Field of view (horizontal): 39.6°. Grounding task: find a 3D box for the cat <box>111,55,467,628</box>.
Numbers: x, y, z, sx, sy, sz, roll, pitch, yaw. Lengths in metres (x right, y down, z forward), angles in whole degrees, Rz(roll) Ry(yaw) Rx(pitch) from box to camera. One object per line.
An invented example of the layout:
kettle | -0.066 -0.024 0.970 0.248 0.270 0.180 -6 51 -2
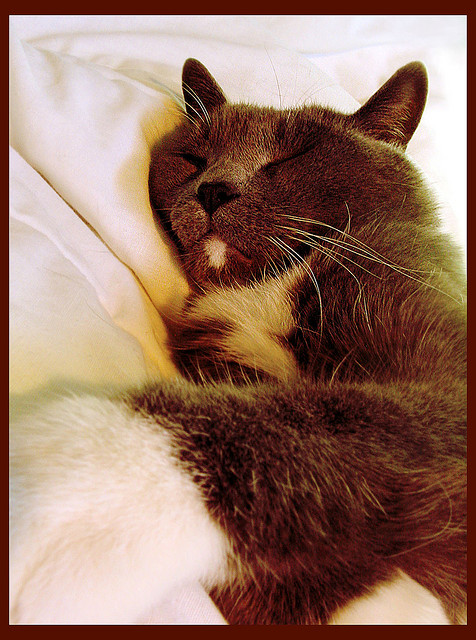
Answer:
cat | 0.097 0.034 1.117 0.597 0.570 0.856 -2 56 -13
